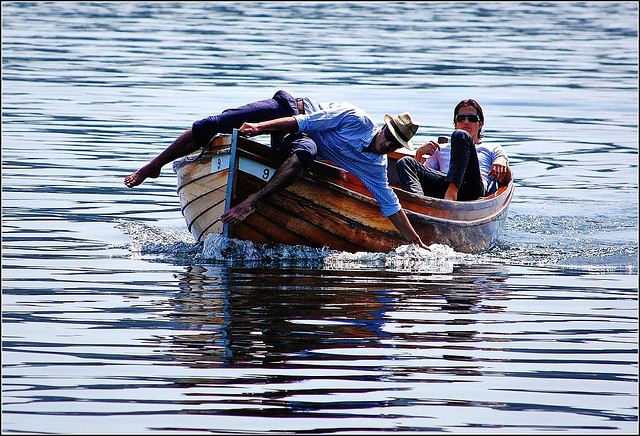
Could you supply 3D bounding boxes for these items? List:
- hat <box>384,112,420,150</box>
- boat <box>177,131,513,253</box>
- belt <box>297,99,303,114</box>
[{"bbox_3d":[1.535,-1.656,25.952,0.641,0.683,0.267,1,5,1],"label":"hat"},{"bbox_3d":[0.712,-0.357,26.834,5.282,1.285,2.753,2,13,-29],"label":"boat"},{"bbox_3d":[-0.372,-2.146,26.263,0.096,0.253,0.079,0,5,-15],"label":"belt"}]
